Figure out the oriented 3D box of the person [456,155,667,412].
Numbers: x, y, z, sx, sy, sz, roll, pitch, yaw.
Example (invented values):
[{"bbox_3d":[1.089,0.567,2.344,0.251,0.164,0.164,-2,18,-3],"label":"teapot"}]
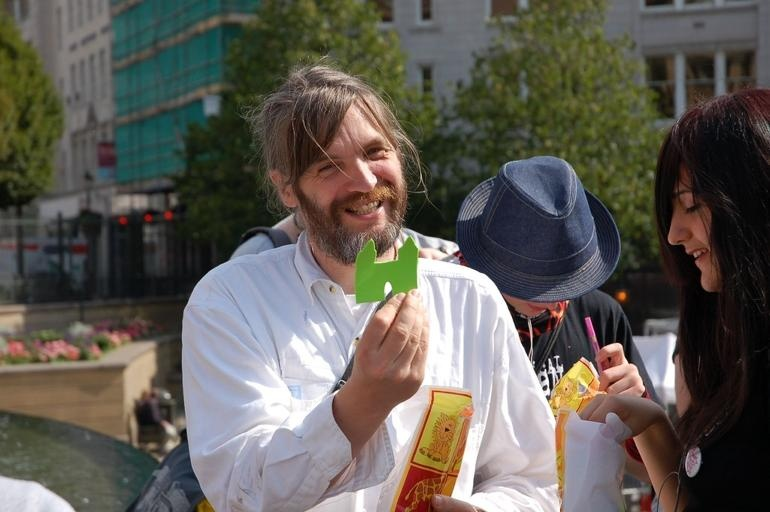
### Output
[{"bbox_3d":[1.374,-0.073,10.735,1.232,1.909,0.735,-36,-22,-20],"label":"person"}]
